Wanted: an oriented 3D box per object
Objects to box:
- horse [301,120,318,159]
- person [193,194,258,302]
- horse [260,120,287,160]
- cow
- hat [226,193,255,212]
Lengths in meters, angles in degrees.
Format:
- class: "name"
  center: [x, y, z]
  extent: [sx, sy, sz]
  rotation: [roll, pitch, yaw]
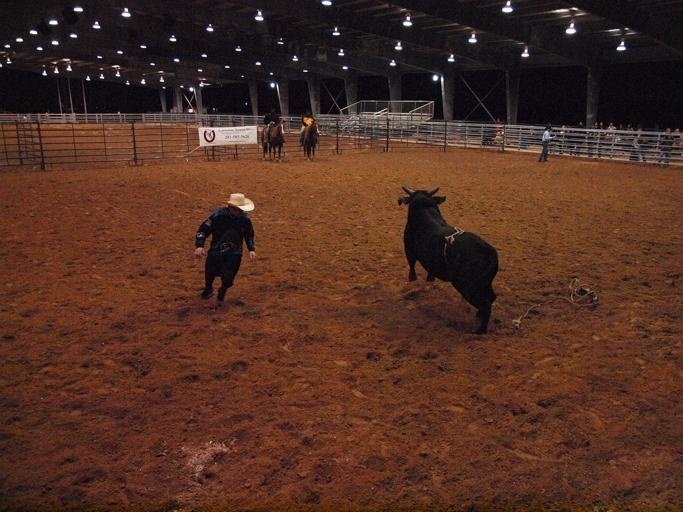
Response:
- class: "horse"
  center: [-1.573, -5.225, 20.895]
  extent: [0.738, 1.547, 2.601]
  rotation: [-6, 13, -21]
- class: "person"
  center: [-1.707, -0.177, 6.700]
  extent: [0.831, 1.498, 1.312]
  rotation: [-4, 13, -15]
- class: "horse"
  center: [-2.993, -5.070, 20.397]
  extent: [0.828, 1.658, 2.694]
  rotation: [-4, 11, -21]
- class: "cow"
  center: [1.429, 0.005, 6.215]
  extent: [0.597, 1.708, 1.558]
  rotation: [-4, 13, -14]
- class: "hat"
  center: [-1.456, -0.750, 6.510]
  extent: [0.296, 0.298, 0.885]
  rotation: [-3, 13, -10]
